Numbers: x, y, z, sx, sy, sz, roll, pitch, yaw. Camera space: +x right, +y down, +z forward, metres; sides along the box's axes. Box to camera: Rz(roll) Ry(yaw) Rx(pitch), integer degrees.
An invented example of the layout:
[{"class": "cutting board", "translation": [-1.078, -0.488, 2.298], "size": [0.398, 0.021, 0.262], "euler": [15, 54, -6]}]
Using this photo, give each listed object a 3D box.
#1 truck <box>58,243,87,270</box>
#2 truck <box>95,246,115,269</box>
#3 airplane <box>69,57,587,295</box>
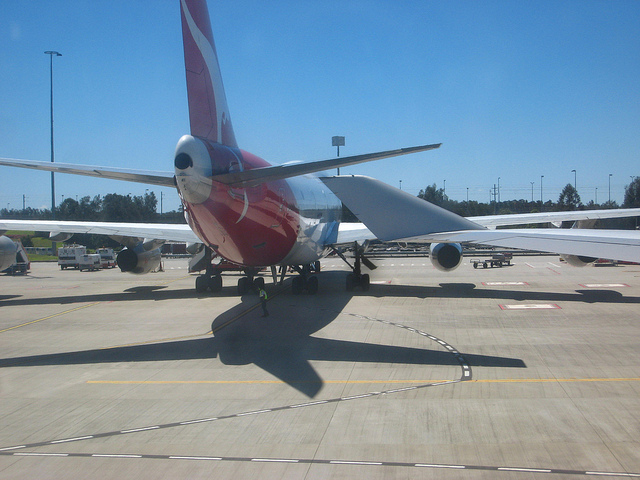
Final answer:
[{"class": "truck", "translation": [-24.075, 1.575, 48.923], "size": [2.294, 1.933, 3.356], "euler": [1, 8, -1]}, {"class": "truck", "translation": [-21.508, 1.655, 49.872], "size": [1.704, 1.371, 2.414], "euler": [0, 6, -5]}, {"class": "airplane", "translation": [-2.261, -1.563, 21.257], "size": [16.215, 5.301, 14.731], "euler": [1, 4, 11]}]
